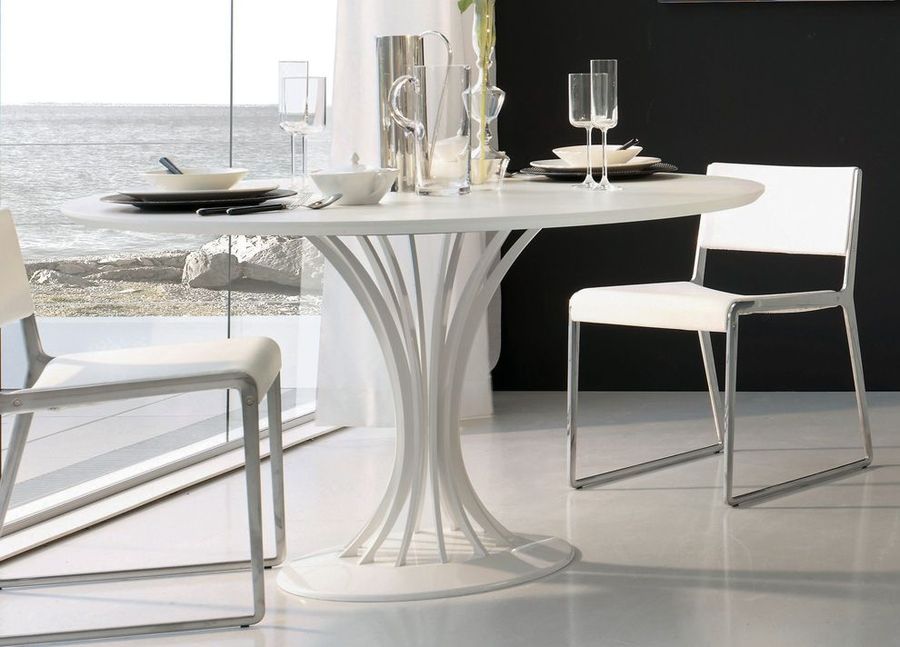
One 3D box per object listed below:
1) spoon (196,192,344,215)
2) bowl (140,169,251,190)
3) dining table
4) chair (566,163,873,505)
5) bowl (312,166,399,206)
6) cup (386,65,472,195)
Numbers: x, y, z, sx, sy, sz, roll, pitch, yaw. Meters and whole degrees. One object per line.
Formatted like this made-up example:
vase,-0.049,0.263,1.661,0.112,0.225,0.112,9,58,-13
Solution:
spoon,-0.372,-0.247,1.693,0.324,0.032,0.157,-9,13,-35
bowl,-0.547,-0.309,1.773,0.207,0.043,0.169,-5,11,-18
dining table,0.044,0.156,2.173,1.430,0.704,1.248,-2,5,-3
chair,0.910,0.001,2.736,0.784,0.996,0.937,3,7,41
bowl,-0.205,-0.291,1.756,0.177,0.075,0.069,-2,12,-3
cup,-0.056,-0.456,1.943,0.141,0.293,0.258,-10,14,-33
